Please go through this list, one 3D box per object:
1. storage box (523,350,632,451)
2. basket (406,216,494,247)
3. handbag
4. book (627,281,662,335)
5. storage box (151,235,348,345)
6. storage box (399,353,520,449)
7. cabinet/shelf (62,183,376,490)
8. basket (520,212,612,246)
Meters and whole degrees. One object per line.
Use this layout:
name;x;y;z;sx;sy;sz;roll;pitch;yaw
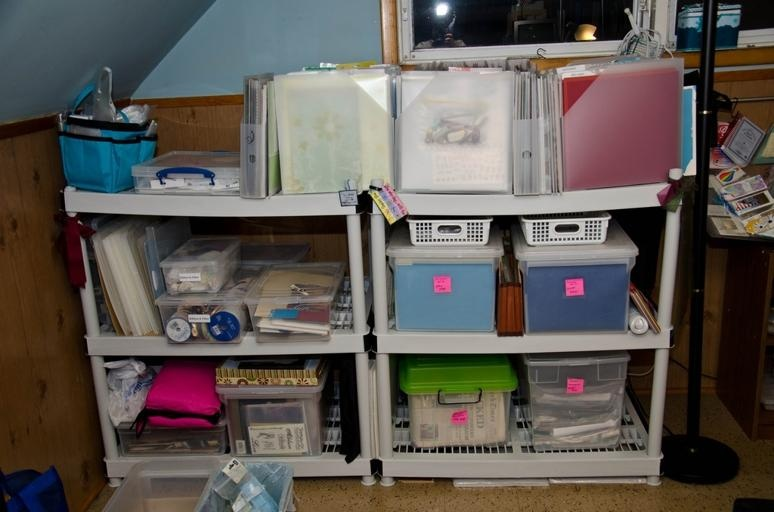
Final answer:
storage box;0.846;0.643;2.849;0.342;0.327;0.496;-2;5;5
basket;0.260;-0.104;2.677;0.232;0.074;0.162;1;12;1
handbag;-1.167;-0.461;2.759;0.365;0.268;0.305;4;16;-3
book;1.108;0.225;2.758;0.053;0.197;0.152;-32;-22;19
storage box;-0.588;0.207;2.957;0.636;0.308;0.504;0;16;-3
storage box;0.324;0.566;2.946;0.574;0.386;0.397;-1;11;1
cabinet/shelf;-0.608;0.256;3.341;1.583;1.645;1.198;-2;14;-2
basket;0.756;-0.112;2.710;0.248;0.080;0.196;-4;14;3
